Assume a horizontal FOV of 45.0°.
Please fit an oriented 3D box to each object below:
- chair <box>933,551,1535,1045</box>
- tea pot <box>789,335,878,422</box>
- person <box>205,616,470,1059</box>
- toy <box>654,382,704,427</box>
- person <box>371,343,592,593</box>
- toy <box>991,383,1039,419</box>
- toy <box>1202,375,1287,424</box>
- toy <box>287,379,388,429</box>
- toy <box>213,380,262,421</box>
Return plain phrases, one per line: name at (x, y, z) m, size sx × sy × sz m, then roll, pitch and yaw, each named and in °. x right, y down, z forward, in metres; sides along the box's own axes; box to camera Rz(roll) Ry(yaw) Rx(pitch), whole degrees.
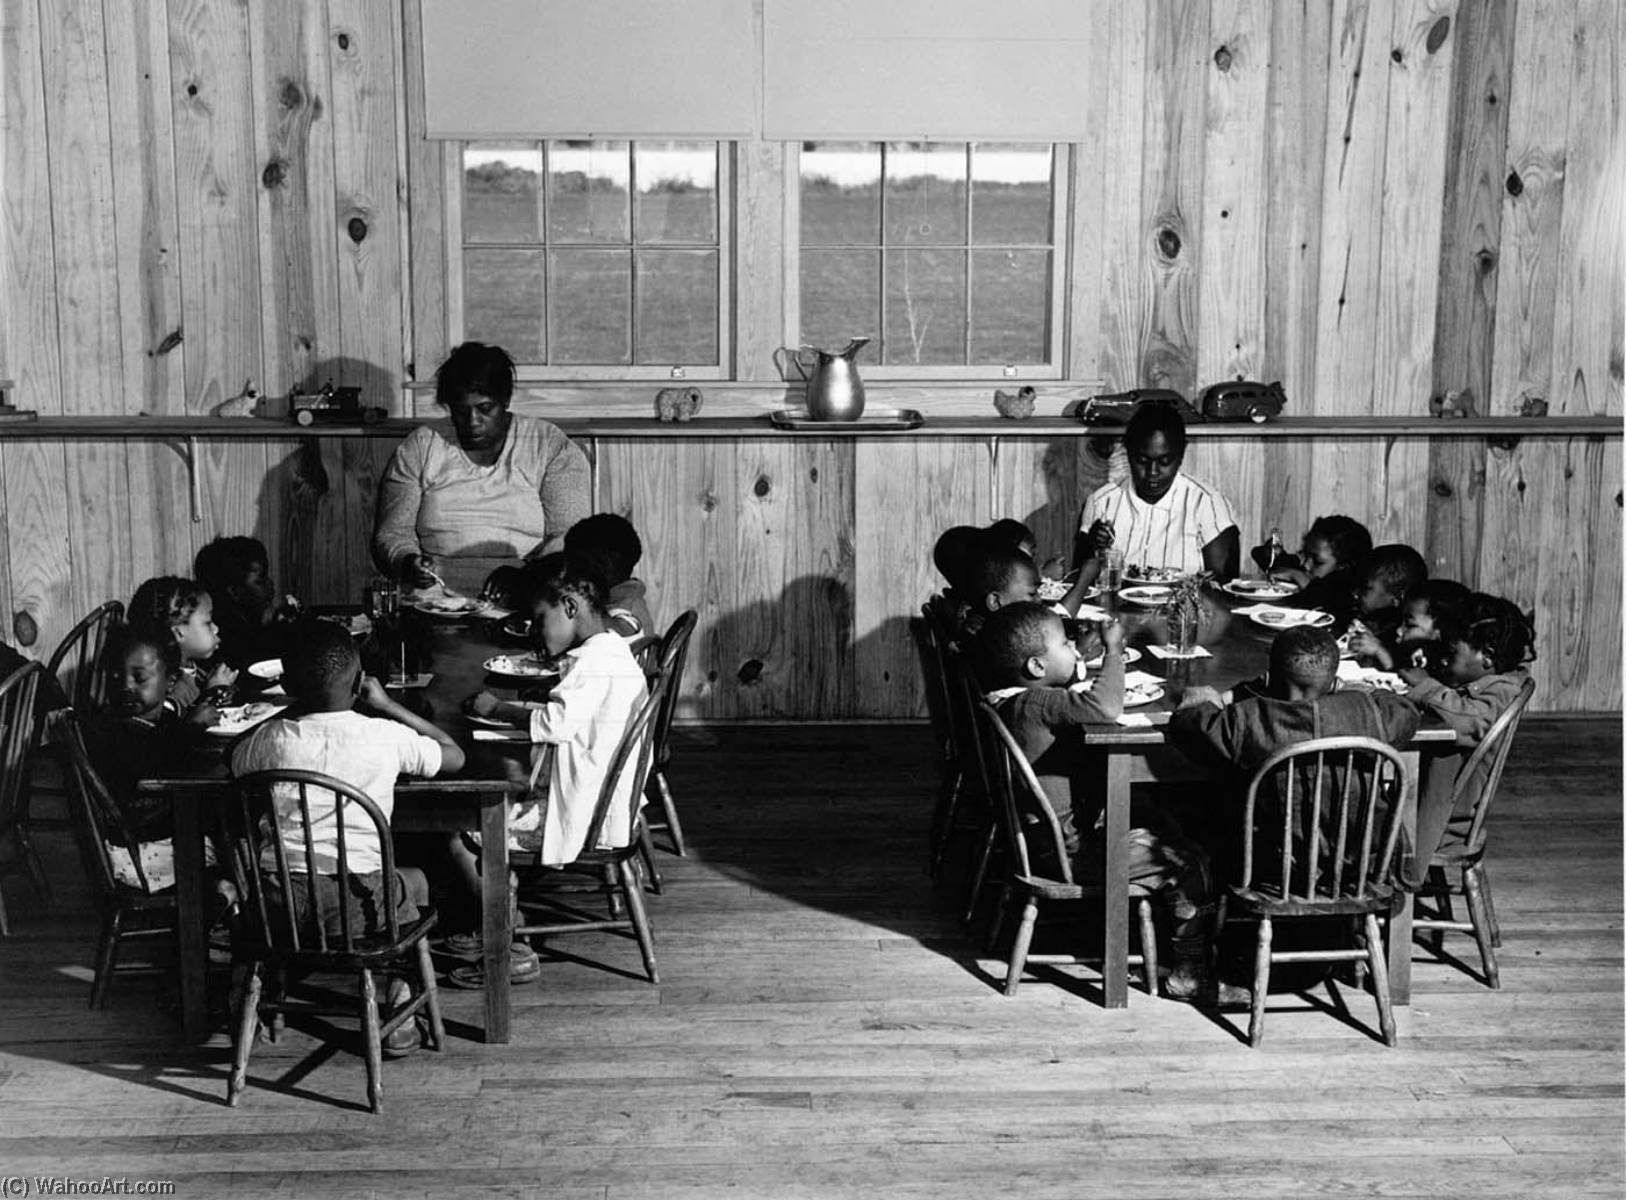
chair at (1.280, 0.483, 6.006) m, size 1.688 × 1.199 × 1.535 m, roll 0°, pitch 9°, yaw 4°
tea pot at (0.068, -0.887, 7.920) m, size 0.300 × 0.317 × 0.387 m, roll 0°, pitch 9°, yaw -1°
person at (-1.209, 0.657, 5.164) m, size 0.594 × 1.203 × 0.464 m, roll -4°, pitch 10°, yaw -20°
toy at (-0.545, -0.797, 7.949) m, size 0.195 × 0.142 × 0.229 m, roll -1°, pitch 9°, yaw -5°
person at (-1.175, -0.393, 6.997) m, size 0.719 × 0.953 × 0.731 m, roll -3°, pitch 25°, yaw -8°
toy at (0.830, -0.811, 7.999) m, size 0.182 × 0.131 × 0.205 m, roll 1°, pitch 9°, yaw 5°
toy at (1.731, -0.808, 7.924) m, size 0.258 × 0.123 × 0.177 m, roll 3°, pitch 19°, yaw 3°
toy at (-1.874, -0.790, 7.781) m, size 0.377 × 0.208 × 0.203 m, roll 1°, pitch 7°, yaw -6°
toy at (-2.287, -0.802, 7.835) m, size 0.186 × 0.157 × 0.118 m, roll -4°, pitch 16°, yaw -12°
